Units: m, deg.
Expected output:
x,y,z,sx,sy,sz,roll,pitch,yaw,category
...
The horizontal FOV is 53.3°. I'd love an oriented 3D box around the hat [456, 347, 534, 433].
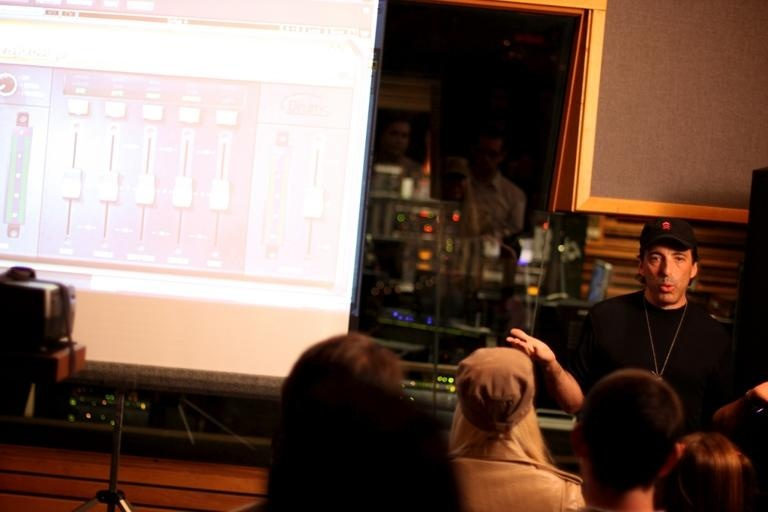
x,y,z,sx,sy,sz,roll,pitch,yaw,category
0.401,0.448,2.821,0.326,0.219,0.415,6,17,16,hat
